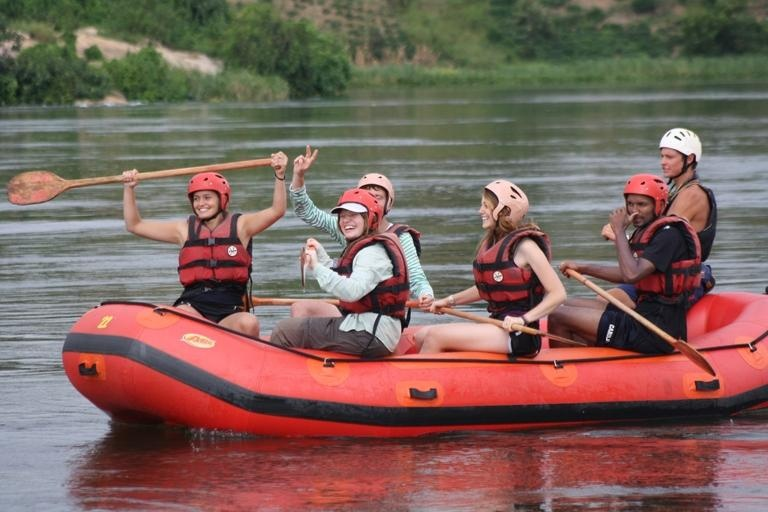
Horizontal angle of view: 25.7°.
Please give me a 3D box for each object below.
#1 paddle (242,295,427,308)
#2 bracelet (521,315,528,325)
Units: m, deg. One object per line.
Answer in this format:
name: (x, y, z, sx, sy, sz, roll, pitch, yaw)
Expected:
paddle: (-1.892, 1.011, 38.519, 2.610, 0.299, 0.879, 0, -4, 8)
bracelet: (3.096, 1.388, 37.190, 0.071, 0.169, 0.138, -32, -9, -2)
